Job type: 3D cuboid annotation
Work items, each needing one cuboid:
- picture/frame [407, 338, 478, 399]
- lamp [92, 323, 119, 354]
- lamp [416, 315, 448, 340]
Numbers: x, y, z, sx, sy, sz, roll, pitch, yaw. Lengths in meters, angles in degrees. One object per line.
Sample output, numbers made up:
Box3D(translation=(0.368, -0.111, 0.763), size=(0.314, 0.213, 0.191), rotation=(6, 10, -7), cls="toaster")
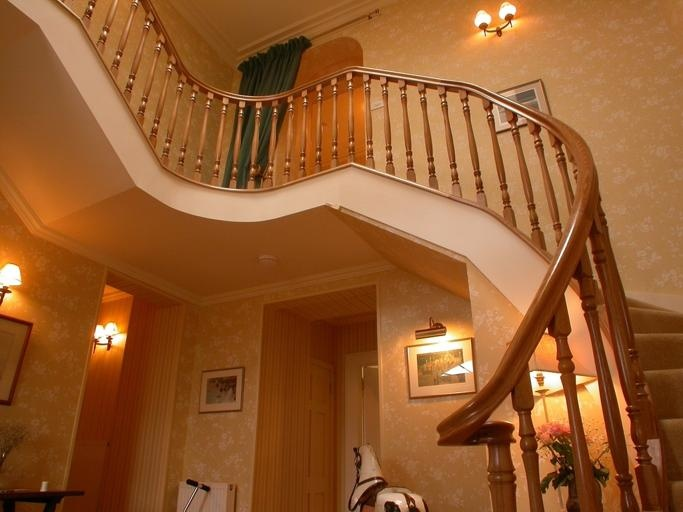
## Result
Box3D(translation=(1.009, 1.113, 4.647), size=(0.786, 0.670, 0.035), rotation=(-10, -29, 18), cls="picture/frame")
Box3D(translation=(-3.205, 1.065, 6.432), size=(0.491, 0.390, 0.202), rotation=(-17, -32, 33), cls="lamp")
Box3D(translation=(0.905, 0.724, 4.831), size=(0.317, 0.222, 0.090), rotation=(-12, -29, 26), cls="lamp")
